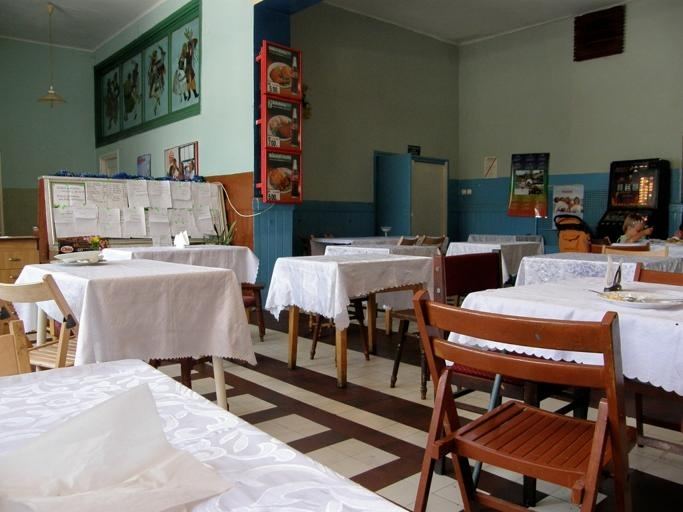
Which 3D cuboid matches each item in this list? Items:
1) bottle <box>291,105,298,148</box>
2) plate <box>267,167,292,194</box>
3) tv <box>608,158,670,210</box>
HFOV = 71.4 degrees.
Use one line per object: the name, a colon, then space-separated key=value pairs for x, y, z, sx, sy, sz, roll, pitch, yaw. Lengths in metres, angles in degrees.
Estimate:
bottle: x=-0.636 y=-1.795 z=6.614 sx=0.117 sy=0.559 sz=0.031 roll=-5 pitch=7 yaw=-35
plate: x=-0.835 y=-1.045 z=6.521 sx=0.070 sy=0.330 sz=0.382 roll=4 pitch=7 yaw=40
tv: x=5.130 y=-1.210 z=8.092 sx=0.439 sy=0.891 sz=0.909 roll=2 pitch=-4 yaw=-38
